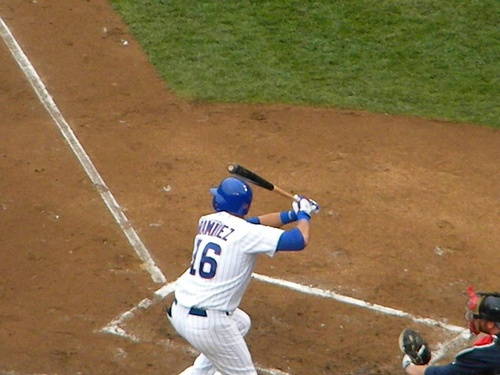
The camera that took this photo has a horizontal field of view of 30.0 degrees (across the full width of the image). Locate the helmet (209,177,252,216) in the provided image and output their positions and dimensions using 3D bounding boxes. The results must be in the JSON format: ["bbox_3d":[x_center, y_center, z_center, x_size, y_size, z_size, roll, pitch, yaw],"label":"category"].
[{"bbox_3d":[-0.274,0.158,13.423,0.634,0.484,0.459,25,20,-3],"label":"helmet"}]

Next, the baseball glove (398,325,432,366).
[{"bbox_3d":[2.310,2.192,13.071,0.365,0.534,0.267,-45,13,-23],"label":"baseball glove"}]

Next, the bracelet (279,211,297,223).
[{"bbox_3d":[0.564,0.422,13.951,0.109,0.113,0.357,8,-23,-18],"label":"bracelet"}]
